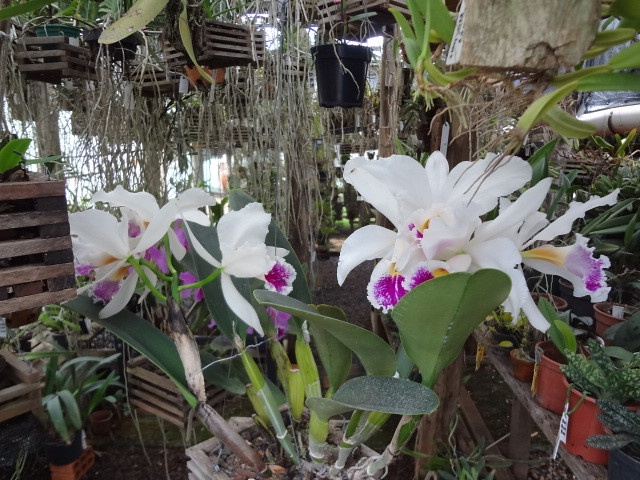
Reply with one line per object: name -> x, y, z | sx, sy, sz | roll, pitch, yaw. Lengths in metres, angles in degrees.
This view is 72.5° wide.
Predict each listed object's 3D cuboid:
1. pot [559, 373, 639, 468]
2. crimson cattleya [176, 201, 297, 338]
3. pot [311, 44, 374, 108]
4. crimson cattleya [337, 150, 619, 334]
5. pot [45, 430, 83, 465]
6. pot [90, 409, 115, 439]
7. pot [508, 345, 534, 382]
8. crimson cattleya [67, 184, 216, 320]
pot -> 0.751, 0.485, 1.218 | 0.172, 0.151, 0.188 | 1, 6, 0
crimson cattleya -> -0.152, 0.068, 1.049 | 0.195, 0.338, 0.268 | 7, 16, 29
pot -> 0.104, -0.751, 2.109 | 0.265, 0.235, 0.289 | 2, 4, 0
crimson cattleya -> 0.296, -0.001, 0.783 | 0.518, 0.301, 0.275 | -2, 15, -6
pot -> -1.185, 0.982, 2.022 | 0.150, 0.121, 0.122 | 2, 0, -33
pot -> -1.201, 1.006, 2.430 | 0.121, 0.108, 0.129 | 0, 6, 0
pot -> 0.704, 0.441, 1.538 | 0.083, 0.070, 0.085 | 3, 2, 0
crimson cattleya -> -0.402, 0.016, 1.097 | 0.302, 0.336, 0.241 | -5, -23, -5
